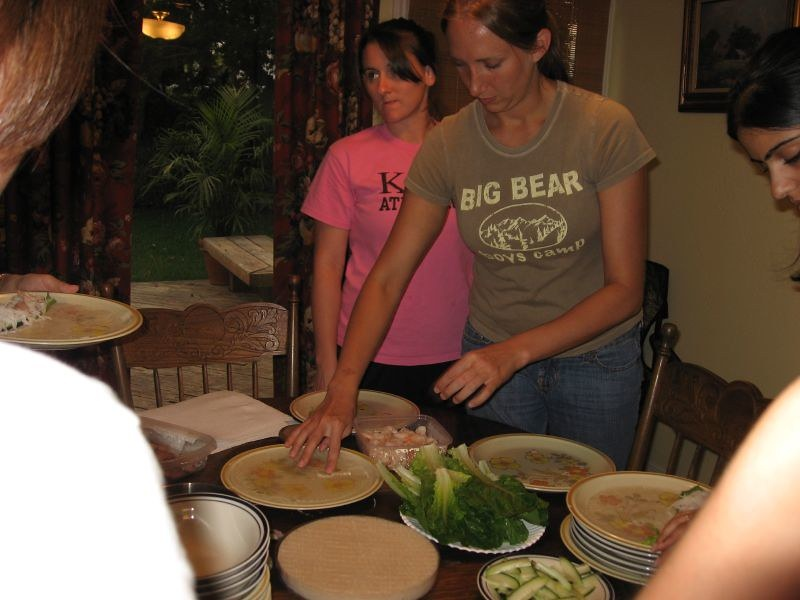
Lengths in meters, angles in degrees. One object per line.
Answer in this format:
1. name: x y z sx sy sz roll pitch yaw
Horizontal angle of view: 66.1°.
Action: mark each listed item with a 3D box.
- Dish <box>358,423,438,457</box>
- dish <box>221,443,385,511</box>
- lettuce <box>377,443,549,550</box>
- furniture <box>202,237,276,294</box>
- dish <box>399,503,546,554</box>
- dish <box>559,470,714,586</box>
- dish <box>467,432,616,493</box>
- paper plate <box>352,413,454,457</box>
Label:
1. Dish: -0.012 0.316 1.396 0.097 0.026 0.088 -4 14 -11
2. dish: -0.209 0.377 1.313 0.345 0.028 0.332 5 8 -1
3. lettuce: 0.121 0.372 1.174 0.205 0.135 0.267 -4 16 -38
4. furniture: -0.948 -0.286 3.550 0.349 0.217 0.481 -4 15 -20
5. dish: 0.120 0.430 1.162 0.259 0.026 0.238 7 -2 -35
6. dish: 0.422 0.418 1.155 0.219 0.060 0.208 0 14 4
7. dish: 0.318 0.378 1.411 0.325 0.033 0.311 -2 9 -25
8. paper plate: -0.023 0.319 1.459 0.225 0.057 0.220 3 2 -7
